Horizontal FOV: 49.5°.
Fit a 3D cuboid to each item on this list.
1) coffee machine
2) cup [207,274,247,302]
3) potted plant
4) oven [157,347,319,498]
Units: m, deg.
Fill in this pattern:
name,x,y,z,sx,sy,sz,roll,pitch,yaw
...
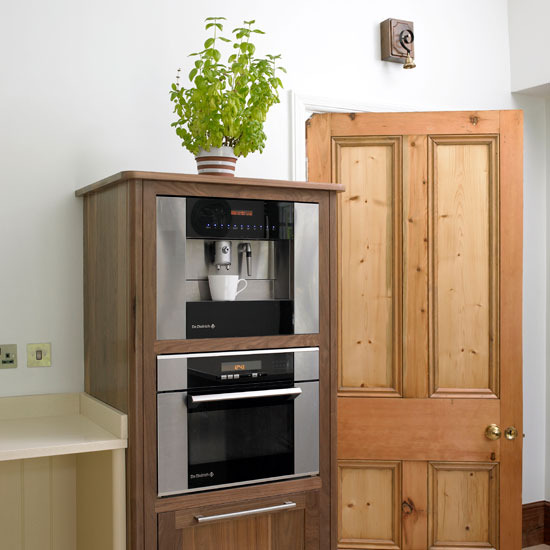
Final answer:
name,x,y,z,sx,sy,sz,roll,pitch,yaw
coffee machine,-0.129,-0.029,1.984,0.379,0.402,0.140,0,-4,-20
cup,-0.158,0.043,2.065,0.103,0.082,0.080,1,-7,-13
potted plant,-0.164,-0.584,2.062,0.285,0.490,0.253,7,4,-7
oven,-0.134,0.406,2.107,0.534,0.524,0.419,-2,21,-10
